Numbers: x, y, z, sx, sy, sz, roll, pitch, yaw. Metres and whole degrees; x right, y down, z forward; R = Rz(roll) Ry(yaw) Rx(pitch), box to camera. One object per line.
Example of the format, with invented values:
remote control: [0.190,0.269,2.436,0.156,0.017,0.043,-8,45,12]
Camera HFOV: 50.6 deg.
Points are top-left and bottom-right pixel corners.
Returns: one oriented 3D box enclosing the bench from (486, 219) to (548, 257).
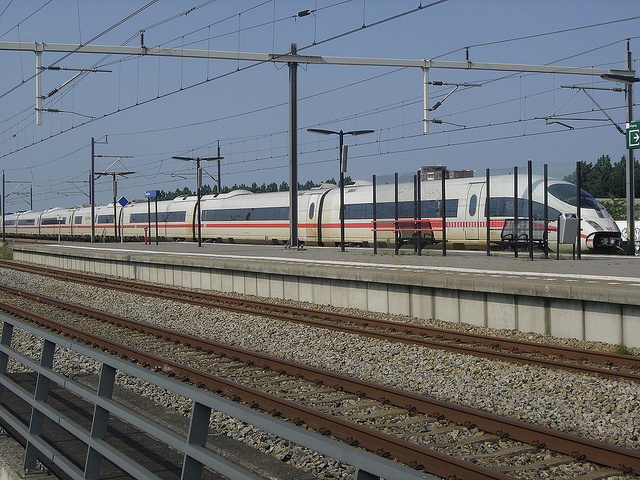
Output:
bench: [6.509,-0.118,21.968,0.850,1.282,2.001,-15,9,-42]

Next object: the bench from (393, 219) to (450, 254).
bench: [3.575,-0.142,23.987,0.636,0.816,1.365,-1,1,-35]
